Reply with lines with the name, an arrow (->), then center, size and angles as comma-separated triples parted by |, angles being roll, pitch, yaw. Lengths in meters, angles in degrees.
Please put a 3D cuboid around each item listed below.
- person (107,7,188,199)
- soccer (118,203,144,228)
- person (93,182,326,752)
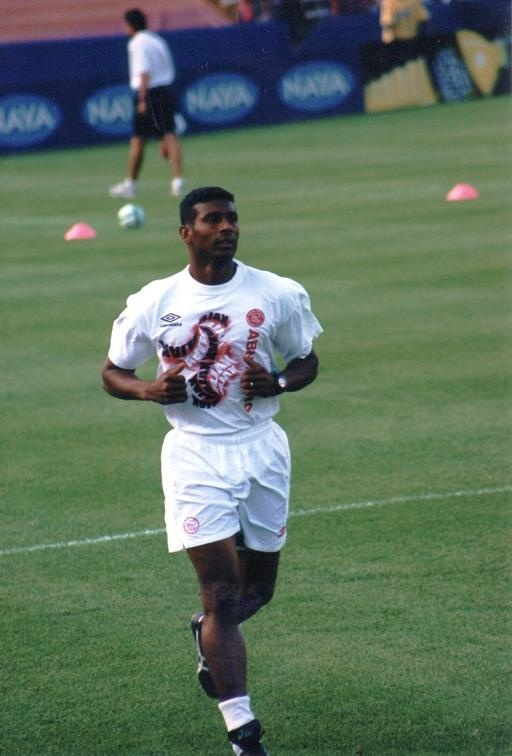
person -> -1.146, -2.710, 13.668 | 0.750, 1.955, 0.875 | -11, 23, -9
soccer -> -1.248, -1.587, 13.355 | 0.216, 0.199, 0.230 | -25, 37, -4
person -> -0.229, 0.254, 6.077 | 0.880, 2.018, 1.251 | -1, 23, 13
